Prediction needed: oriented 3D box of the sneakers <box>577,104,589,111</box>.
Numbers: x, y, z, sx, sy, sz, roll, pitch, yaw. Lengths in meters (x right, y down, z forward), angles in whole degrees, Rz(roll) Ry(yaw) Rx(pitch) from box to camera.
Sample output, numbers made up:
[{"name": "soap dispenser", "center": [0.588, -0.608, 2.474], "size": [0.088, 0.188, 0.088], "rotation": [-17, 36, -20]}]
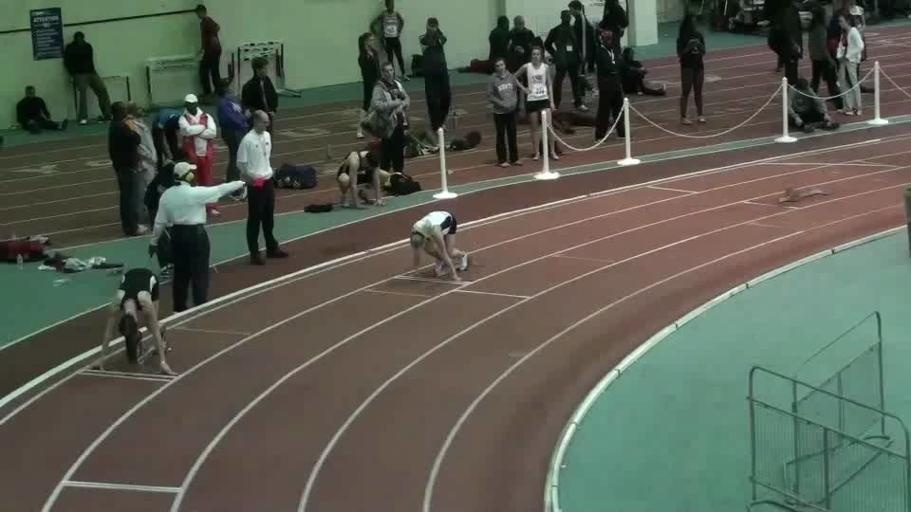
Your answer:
[{"name": "sneakers", "center": [3.882, -4.551, 26.202], "size": [0.217, 0.172, 0.382], "rotation": [-15, 16, -43]}]

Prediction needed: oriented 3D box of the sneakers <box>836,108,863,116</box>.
[{"name": "sneakers", "center": [11.442, -4.150, 24.738], "size": [0.622, 0.289, 0.221], "rotation": [-5, 12, 10]}]

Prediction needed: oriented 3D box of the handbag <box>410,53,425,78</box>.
[{"name": "handbag", "center": [-1.477, -6.876, 30.818], "size": [0.674, 1.001, 0.780], "rotation": [1, 7, 3]}]

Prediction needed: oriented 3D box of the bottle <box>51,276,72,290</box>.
[{"name": "bottle", "center": [-7.919, 0.522, 17.048], "size": [0.342, 0.109, 0.470], "rotation": [-14, 18, -27]}]

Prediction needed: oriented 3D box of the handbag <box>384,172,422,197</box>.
[{"name": "handbag", "center": [-1.336, -1.733, 20.870], "size": [0.529, 0.323, 0.677], "rotation": [0, 1, -40]}]

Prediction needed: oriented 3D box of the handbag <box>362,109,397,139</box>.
[{"name": "handbag", "center": [-1.865, -3.175, 20.666], "size": [0.842, 0.697, 0.430], "rotation": [-6, 15, -1]}]

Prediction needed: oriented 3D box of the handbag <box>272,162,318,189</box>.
[{"name": "handbag", "center": [-4.130, -2.006, 21.689], "size": [0.801, 0.371, 0.650], "rotation": [9, 13, 22]}]

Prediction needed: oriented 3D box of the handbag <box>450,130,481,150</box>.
[{"name": "handbag", "center": [0.308, -3.320, 24.269], "size": [0.521, 0.288, 0.734], "rotation": [-9, 22, 40]}]

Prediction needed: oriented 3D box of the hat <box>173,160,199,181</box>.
[{"name": "hat", "center": [-4.787, -1.469, 15.002], "size": [0.332, 0.372, 0.245], "rotation": [-16, 18, -32]}]

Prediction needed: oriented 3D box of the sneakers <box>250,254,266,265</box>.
[{"name": "sneakers", "center": [-4.086, 0.077, 17.501], "size": [0.225, 0.278, 0.237], "rotation": [1, 7, 7]}]
